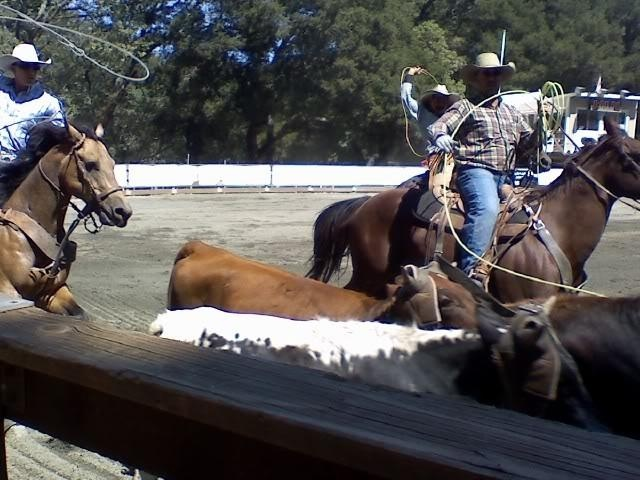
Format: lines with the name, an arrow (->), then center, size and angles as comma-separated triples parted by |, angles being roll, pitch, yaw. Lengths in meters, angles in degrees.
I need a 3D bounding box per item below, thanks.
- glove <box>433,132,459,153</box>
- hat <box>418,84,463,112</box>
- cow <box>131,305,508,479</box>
glove -> 0.932, -0.682, 5.295 | 0.167, 0.154, 0.446 | 5, 14, 10
hat -> 1.123, -1.347, 6.771 | 0.308, 0.172, 0.339 | -3, -32, 16
cow -> -0.029, 0.527, 3.887 | 1.910, 1.095, 0.532 | 5, 21, 21
